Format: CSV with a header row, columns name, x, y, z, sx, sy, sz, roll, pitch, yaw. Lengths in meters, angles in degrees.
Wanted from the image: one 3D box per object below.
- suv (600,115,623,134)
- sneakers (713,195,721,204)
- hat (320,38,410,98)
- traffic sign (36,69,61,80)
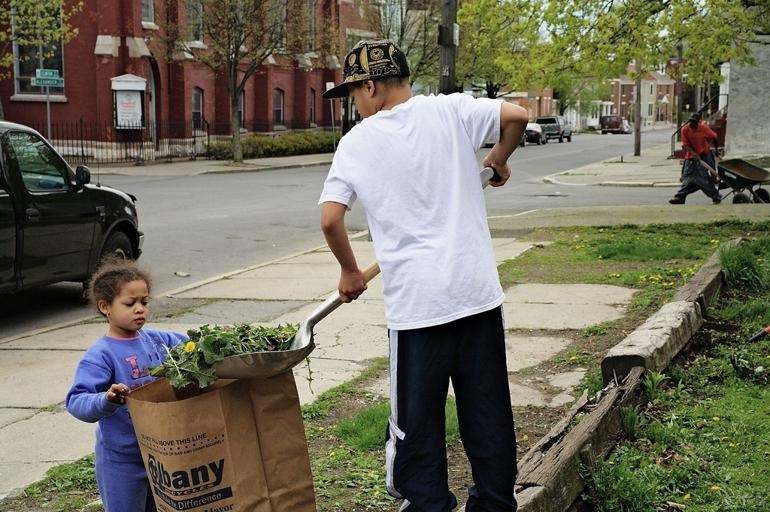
name,x,y,z,sx,sy,sz,roll,pitch,yaw
suv,25.681,-14.646,92.273,1.745,1.421,2.746,2,10,22
sneakers,7.504,-1.261,18.508,0.155,0.155,0.288,9,16,21
hat,-0.112,-1.120,4.997,0.494,0.269,0.328,-3,4,5
traffic sign,-10.539,-5.648,25.705,0.382,0.281,0.867,1,10,20
